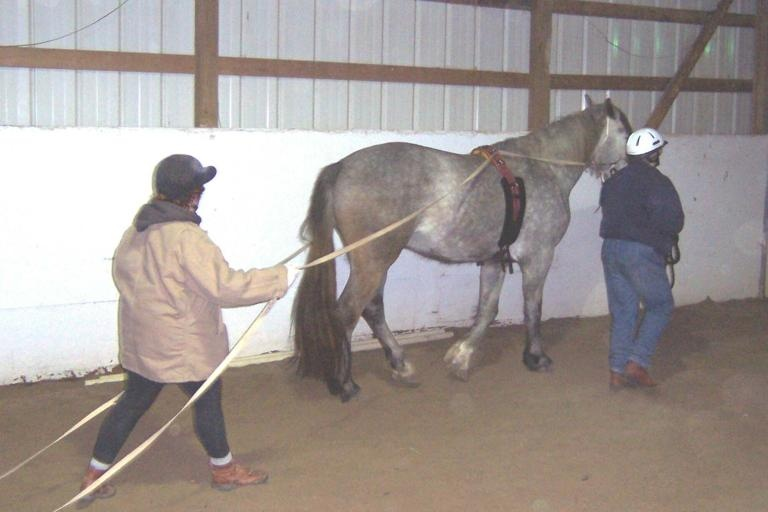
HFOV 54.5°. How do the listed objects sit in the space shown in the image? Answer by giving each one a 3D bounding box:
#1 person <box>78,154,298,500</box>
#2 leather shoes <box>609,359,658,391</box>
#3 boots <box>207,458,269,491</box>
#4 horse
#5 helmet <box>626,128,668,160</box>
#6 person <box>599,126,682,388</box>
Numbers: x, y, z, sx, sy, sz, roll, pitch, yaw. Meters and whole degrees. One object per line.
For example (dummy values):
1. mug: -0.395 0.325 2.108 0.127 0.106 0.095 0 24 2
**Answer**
1. person: -1.488 0.470 5.316 1.410 2.309 0.493 -2 15 -7
2. leather shoes: 2.205 1.062 6.627 0.519 0.275 0.186 -1 -1 -8
3. boots: -1.101 1.639 5.643 0.360 0.189 0.188 -2 6 -15
4. horse: 0.804 -0.064 7.096 3.365 2.702 0.916 -5 11 -15
5. helmet: 2.358 -1.030 6.662 0.312 0.178 0.226 -23 23 -27
6. person: 2.260 0.032 6.632 0.674 2.188 0.703 4 16 13
